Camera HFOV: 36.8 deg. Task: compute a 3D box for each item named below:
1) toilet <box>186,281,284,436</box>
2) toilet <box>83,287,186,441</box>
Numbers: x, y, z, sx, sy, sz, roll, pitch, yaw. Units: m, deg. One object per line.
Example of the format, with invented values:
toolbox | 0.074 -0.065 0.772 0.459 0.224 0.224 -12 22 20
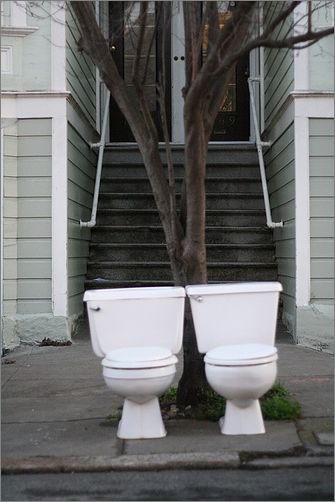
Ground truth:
toilet | 0.340 0.524 2.490 0.428 0.703 0.611 -2 -1 5
toilet | -0.148 0.533 2.466 0.455 0.685 0.609 -2 -2 -5
